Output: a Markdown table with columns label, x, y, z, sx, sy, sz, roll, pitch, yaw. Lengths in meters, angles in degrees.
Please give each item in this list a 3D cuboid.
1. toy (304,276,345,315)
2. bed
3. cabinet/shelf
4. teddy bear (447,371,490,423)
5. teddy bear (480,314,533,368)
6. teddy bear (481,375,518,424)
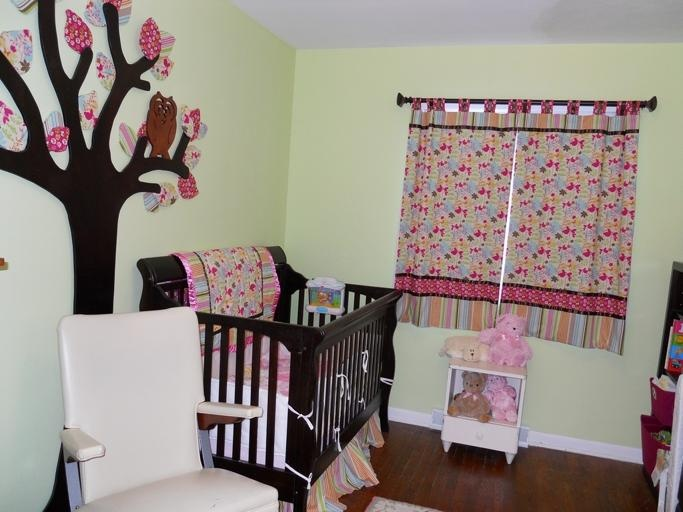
| label | x | y | z | sx | sy | sz | roll | pitch | yaw |
| --- | --- | --- | --- | --- | --- | --- | --- | --- | --- |
| toy | -0.116 | 0.281 | 3.793 | 0.219 | 0.242 | 0.120 | 4 | 8 | 17 |
| bed | -0.277 | 0.618 | 3.372 | 1.177 | 1.589 | 1.693 | 2 | 6 | 25 |
| cabinet/shelf | 0.973 | 1.012 | 3.702 | 0.452 | 0.645 | 0.329 | 6 | 12 | 18 |
| teddy bear | 0.866 | 0.944 | 3.662 | 0.267 | 0.325 | 0.249 | 4 | 4 | 20 |
| teddy bear | 1.108 | 0.560 | 3.704 | 0.240 | 0.322 | 0.311 | -5 | 13 | -41 |
| teddy bear | 1.073 | 0.953 | 3.649 | 0.190 | 0.294 | 0.119 | -7 | -35 | 0 |
